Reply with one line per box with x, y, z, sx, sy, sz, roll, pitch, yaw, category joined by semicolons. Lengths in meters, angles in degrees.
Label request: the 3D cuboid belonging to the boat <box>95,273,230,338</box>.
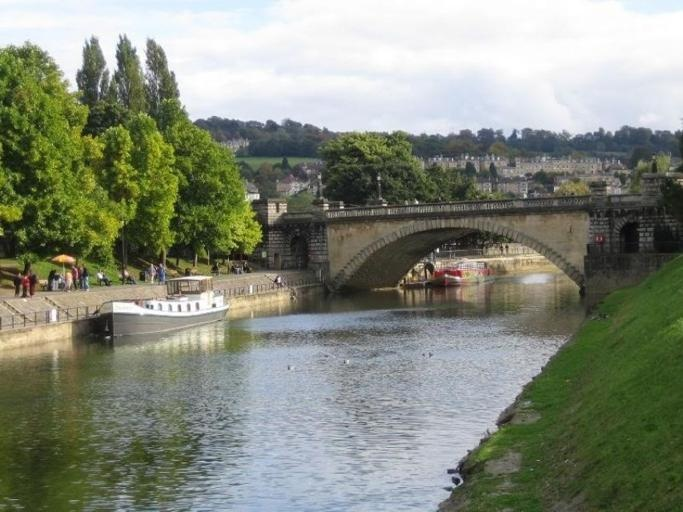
-11.725;3.320;81.068;1.899;3.292;11.275;0;3;29;boat

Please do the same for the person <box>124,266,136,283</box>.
-16.432;1.532;94.157;0.559;1.155;0.454;-23;8;-38;person

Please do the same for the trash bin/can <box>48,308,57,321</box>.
-17.804;3.651;74.548;0.610;0.886;0.659;0;6;-1;trash bin/can

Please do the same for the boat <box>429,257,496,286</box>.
12.309;1.795;127.717;5.775;2.227;11.825;-1;3;11;boat

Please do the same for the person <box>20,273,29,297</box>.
-20.102;1.974;77.440;0.541;1.274;2.074;-2;3;-15;person
